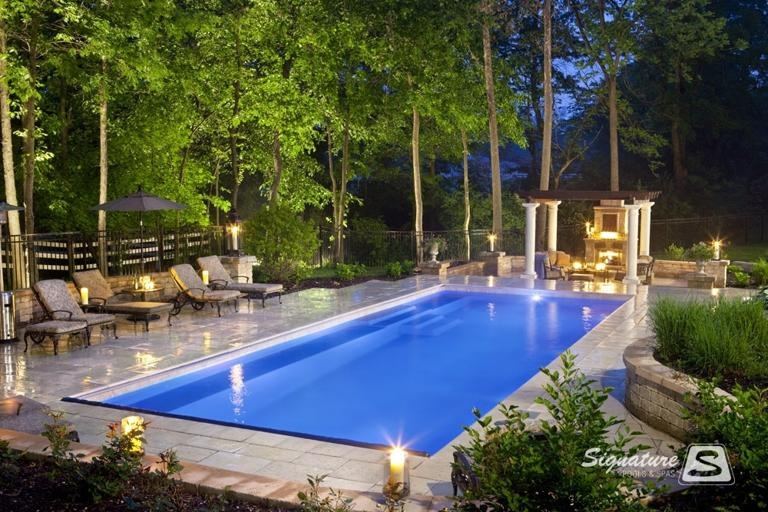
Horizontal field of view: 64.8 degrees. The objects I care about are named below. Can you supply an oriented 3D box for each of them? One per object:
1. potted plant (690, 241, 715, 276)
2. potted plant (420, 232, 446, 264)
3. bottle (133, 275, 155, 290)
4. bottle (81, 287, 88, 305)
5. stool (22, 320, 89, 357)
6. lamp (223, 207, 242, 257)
[{"bbox_3d":[11.712,0.107,21.896,1.065,1.315,1.142,-2,5,20],"label":"potted plant"},{"bbox_3d":[2.213,-0.303,24.805,1.334,1.417,1.372,0,0,-2],"label":"potted plant"},{"bbox_3d":[-6.305,0.697,15.852,0.406,0.219,0.577,1,3,-7],"label":"bottle"},{"bbox_3d":[-7.090,0.900,14.213,0.165,0.415,0.533,-5,13,-26],"label":"bottle"},{"bbox_3d":[-6.948,1.542,12.613,0.772,0.507,1.090,1,1,15],"label":"stool"},{"bbox_3d":[-4.935,-0.768,19.658,0.486,1.291,1.080,-2,12,-15],"label":"lamp"}]
